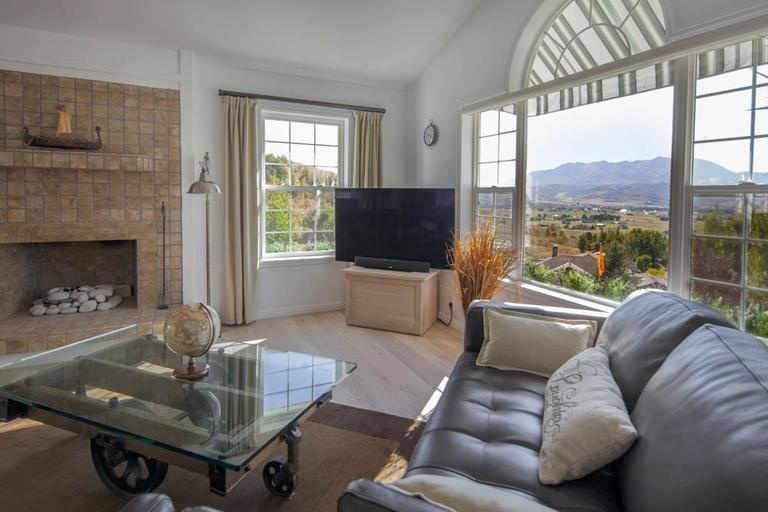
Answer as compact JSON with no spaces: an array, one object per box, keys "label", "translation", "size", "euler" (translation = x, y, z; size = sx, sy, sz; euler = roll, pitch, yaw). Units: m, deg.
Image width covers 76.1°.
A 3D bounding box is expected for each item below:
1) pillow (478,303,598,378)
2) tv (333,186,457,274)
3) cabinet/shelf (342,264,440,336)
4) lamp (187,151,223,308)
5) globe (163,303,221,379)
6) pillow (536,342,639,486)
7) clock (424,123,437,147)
[{"label":"pillow","translation":[0.959,0.556,3.174],"size":[0.792,0.479,0.484],"euler":[3,5,25]},{"label":"tv","translation":[0.086,-0.336,5.359],"size":[1.346,0.810,0.150],"euler":[4,8,24]},{"label":"cabinet/shelf","translation":[0.102,0.392,5.403],"size":[1.167,0.787,0.646],"euler":[2,4,23]},{"label":"lamp","translation":[-1.809,-0.259,4.979],"size":[0.324,1.627,0.711],"euler":[-3,8,-20]},{"label":"globe","translation":[-1.248,0.538,3.174],"size":[0.337,0.488,0.287],"euler":[0,10,-29]},{"label":"pillow","translation":[1.001,0.810,2.593],"size":[0.434,0.476,0.723],"euler":[3,4,9]},{"label":"clock","translation":[0.532,-1.398,5.609],"size":[0.047,0.266,0.312],"euler":[-3,8,-20]}]
